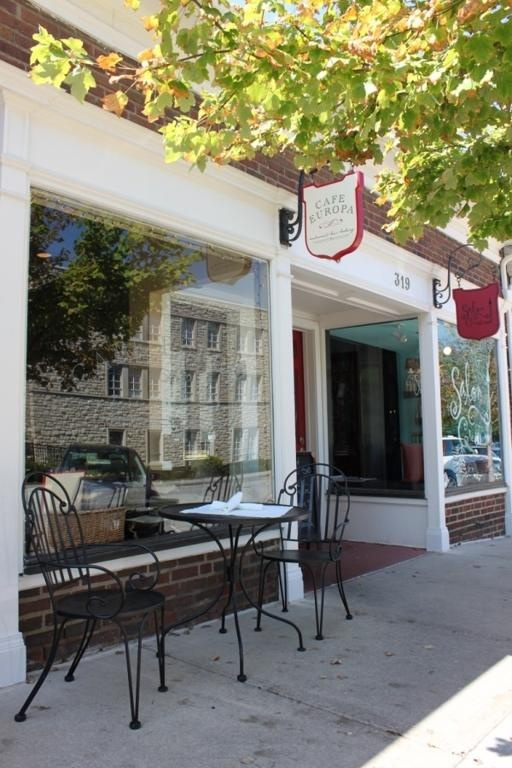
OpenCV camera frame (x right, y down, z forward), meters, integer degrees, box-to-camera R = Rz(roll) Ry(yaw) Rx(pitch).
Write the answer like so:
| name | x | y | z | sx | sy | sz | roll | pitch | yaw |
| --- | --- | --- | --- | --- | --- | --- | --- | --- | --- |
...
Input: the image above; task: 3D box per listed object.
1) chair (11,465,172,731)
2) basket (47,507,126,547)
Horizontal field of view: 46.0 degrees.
| name | x | y | z | sx | sy | sz | roll | pitch | yaw |
| --- | --- | --- | --- | --- | --- | --- | --- | --- | --- |
| chair | -0.734 | 0.961 | 2.806 | 0.640 | 1.029 | 0.573 | -2 | -5 | 4 |
| basket | -1.026 | 0.881 | 3.752 | 0.327 | 0.186 | 0.439 | -9 | -11 | 40 |
